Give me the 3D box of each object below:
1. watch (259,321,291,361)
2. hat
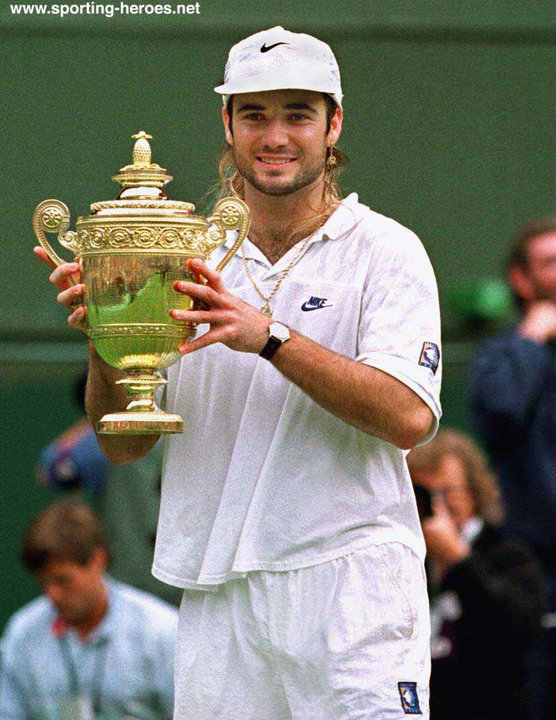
[{"bbox_3d":[-0.002,-0.049,2.918,0.067,0.082,0.089,33,30,7],"label":"watch"},{"bbox_3d":[0.018,-0.716,3.077,0.320,0.173,0.238,-8,12,-40],"label":"hat"}]
